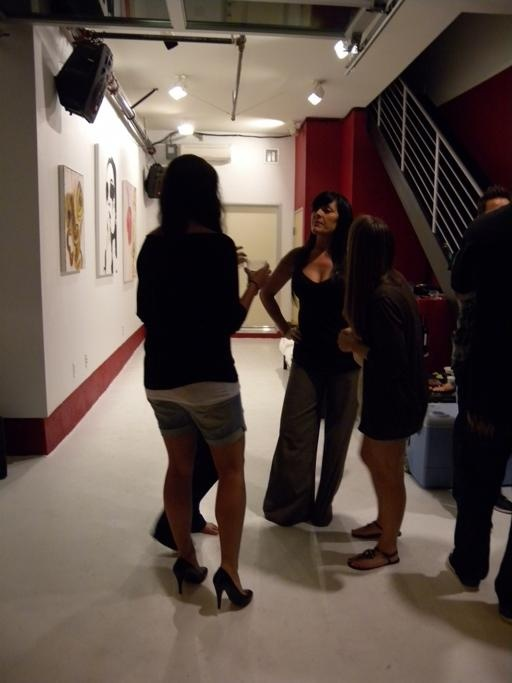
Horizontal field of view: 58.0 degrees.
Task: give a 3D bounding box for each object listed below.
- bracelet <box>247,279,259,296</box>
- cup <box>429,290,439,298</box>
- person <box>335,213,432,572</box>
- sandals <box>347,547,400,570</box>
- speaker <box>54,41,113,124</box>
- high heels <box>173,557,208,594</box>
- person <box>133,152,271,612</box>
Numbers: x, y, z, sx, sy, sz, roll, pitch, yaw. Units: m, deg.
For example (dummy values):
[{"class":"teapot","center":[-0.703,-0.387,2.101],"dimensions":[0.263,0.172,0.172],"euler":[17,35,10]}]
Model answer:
[{"class":"bracelet","center":[-0.011,-0.165,1.417],"dimensions":[0.034,0.052,0.027],"euler":[0,6,-11]},{"class":"cup","center":[1.690,-0.458,4.455],"dimensions":[0.049,0.071,0.046],"euler":[-9,27,5]},{"class":"person","center":[0.464,0.218,1.750],"dimensions":[0.311,1.338,0.476],"euler":[1,2,17]},{"class":"sandals","center":[0.452,0.812,1.784],"dimensions":[0.137,0.076,0.092],"euler":[1,4,-7]},{"class":"speaker","center":[-1.197,-1.923,3.292],"dimensions":[0.295,0.629,0.463],"euler":[1,3,10]},{"class":"high heels","center":[-0.226,0.807,1.646],"dimensions":[0.053,0.131,0.193],"euler":[1,-4,12]},{"class":"person","center":[-0.176,0.168,1.448],"dimensions":[0.382,1.444,0.354],"euler":[2,3,33]}]
